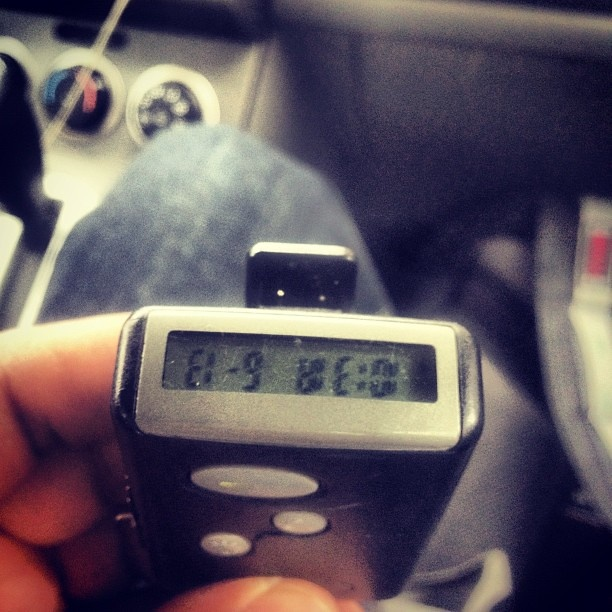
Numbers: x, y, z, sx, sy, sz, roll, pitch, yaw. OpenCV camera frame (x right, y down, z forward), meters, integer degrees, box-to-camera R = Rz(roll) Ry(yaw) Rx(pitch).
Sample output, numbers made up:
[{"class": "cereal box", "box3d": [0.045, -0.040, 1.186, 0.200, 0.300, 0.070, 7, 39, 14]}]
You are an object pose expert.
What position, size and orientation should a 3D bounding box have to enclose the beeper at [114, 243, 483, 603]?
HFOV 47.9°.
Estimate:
[{"class": "beeper", "box3d": [-0.016, 0.137, 0.761, 0.291, 0.416, 0.244, 4, 54, -2]}]
